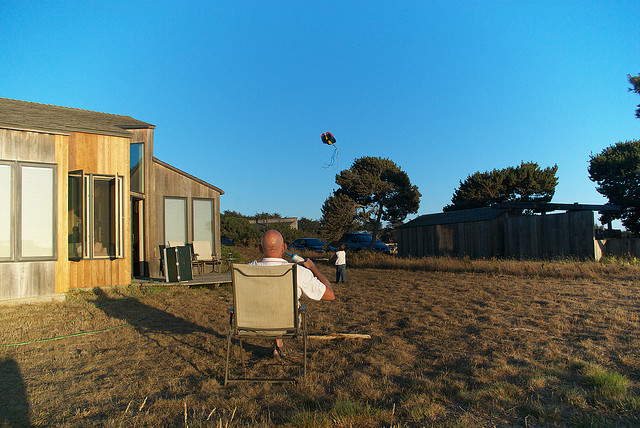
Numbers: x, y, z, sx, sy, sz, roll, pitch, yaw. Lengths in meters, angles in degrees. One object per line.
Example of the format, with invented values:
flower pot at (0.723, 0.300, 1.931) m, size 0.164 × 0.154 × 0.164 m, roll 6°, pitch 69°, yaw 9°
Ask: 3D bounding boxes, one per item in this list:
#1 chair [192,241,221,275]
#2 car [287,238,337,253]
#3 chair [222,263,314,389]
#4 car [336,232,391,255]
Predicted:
chair at (-3.629, 1.335, 15.611) m, size 0.720 × 1.030 × 0.896 m, roll 5°, pitch -11°, yaw -8°
car at (-0.619, 1.778, 27.790) m, size 2.327 × 0.904 × 1.047 m, roll 7°, pitch -1°, yaw 26°
chair at (-0.866, 1.770, 8.644) m, size 1.400 × 2.231 × 1.604 m, roll 0°, pitch 7°, yaw -8°
car at (2.137, 1.529, 25.997) m, size 1.377 × 1.257 × 2.329 m, roll 4°, pitch -11°, yaw -37°
